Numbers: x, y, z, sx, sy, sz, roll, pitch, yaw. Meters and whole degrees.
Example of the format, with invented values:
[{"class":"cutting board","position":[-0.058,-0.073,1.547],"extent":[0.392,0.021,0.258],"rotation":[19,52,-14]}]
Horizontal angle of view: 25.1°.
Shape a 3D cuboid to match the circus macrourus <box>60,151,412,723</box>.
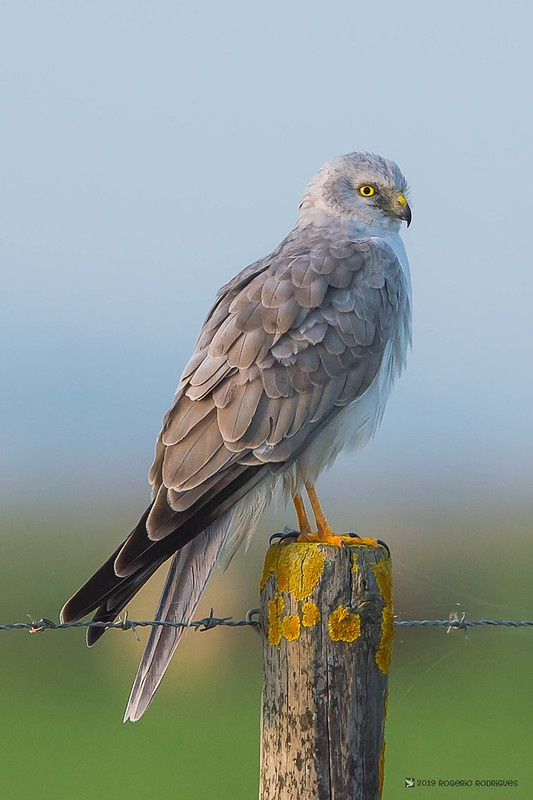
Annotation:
[{"class":"circus macrourus","position":[0.071,-0.165,4.248],"extent":[0.759,1.928,1.395],"rotation":[2,-8,31]}]
